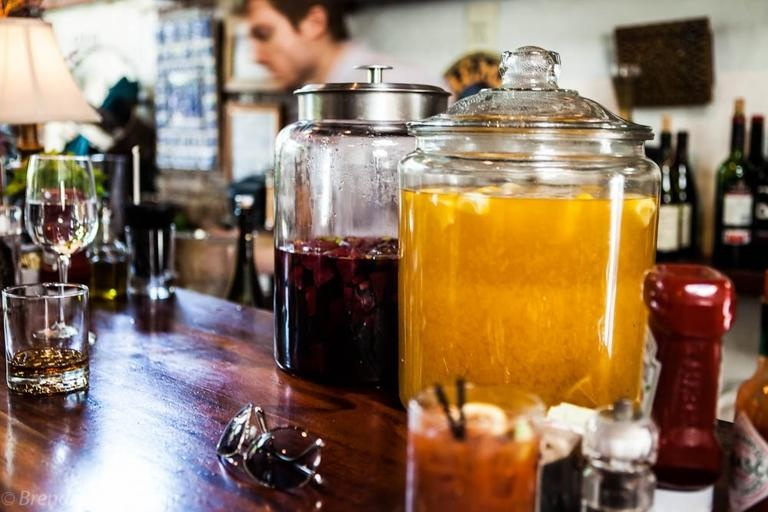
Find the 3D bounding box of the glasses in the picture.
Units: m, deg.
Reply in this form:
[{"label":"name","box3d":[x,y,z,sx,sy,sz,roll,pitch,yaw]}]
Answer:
[{"label":"glasses","box3d":[-0.129,0.235,0.899,0.144,0.073,0.127,4,9,28]}]

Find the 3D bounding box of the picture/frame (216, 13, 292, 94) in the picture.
[{"label":"picture/frame","box3d":[-0.718,-1.162,3.998,0.504,0.469,0.277,2,6,38]}]
